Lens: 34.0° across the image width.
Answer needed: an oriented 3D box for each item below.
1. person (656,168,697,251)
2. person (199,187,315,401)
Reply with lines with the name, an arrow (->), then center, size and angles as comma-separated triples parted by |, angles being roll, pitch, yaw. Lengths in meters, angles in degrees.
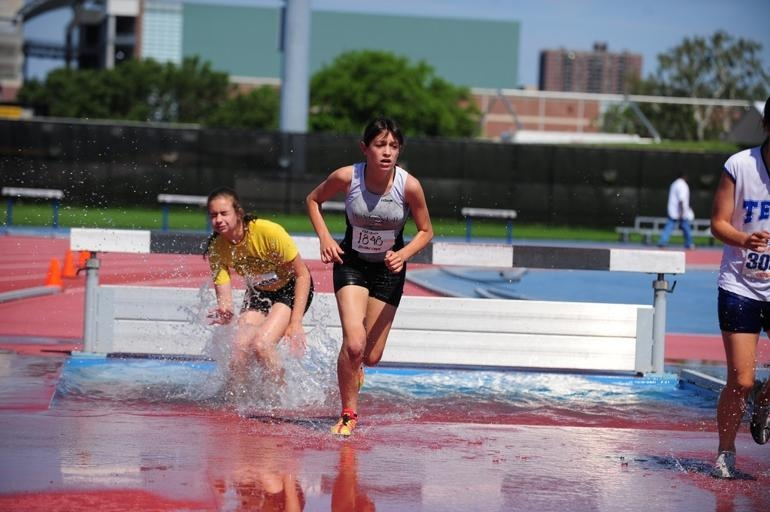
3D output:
person -> 6.538, -1.015, 28.505 | 0.887, 1.891, 0.817 | 1, -12, 0
person -> -1.495, 0.424, 14.991 | 1.226, 2.393, 0.811 | 1, 7, -3
